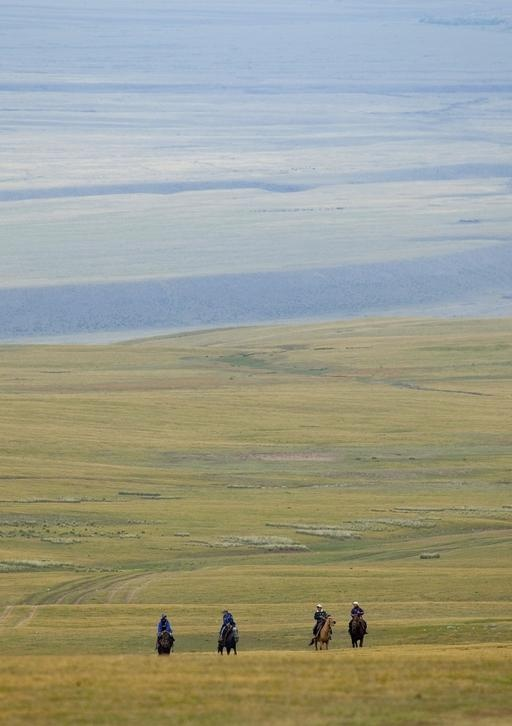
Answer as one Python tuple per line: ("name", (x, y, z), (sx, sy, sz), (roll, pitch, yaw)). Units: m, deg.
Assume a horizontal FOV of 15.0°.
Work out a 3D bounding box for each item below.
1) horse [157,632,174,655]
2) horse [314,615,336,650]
("horse", (-12.147, 41.623, 291.829), (2.465, 3.561, 1.450), (-4, 8, -18))
("horse", (11.764, 40.305, 293.710), (3.591, 5.092, 1.906), (-6, 9, -35))
